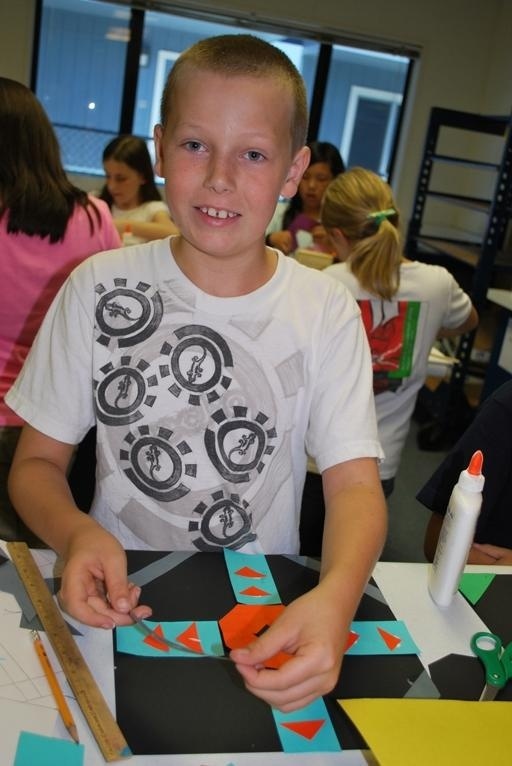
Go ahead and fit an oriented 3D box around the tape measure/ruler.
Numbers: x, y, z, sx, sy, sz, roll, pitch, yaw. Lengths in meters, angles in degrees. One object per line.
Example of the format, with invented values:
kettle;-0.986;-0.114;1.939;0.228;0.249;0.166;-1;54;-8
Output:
tape measure/ruler;-0.272;0.196;0.755;0.066;0.034;0.625;8;27;-34

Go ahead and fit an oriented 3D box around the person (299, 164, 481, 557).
person;0.397;0.123;1.972;0.575;1.363;0.398;9;-6;2

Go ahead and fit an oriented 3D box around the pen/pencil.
pen/pencil;-0.199;0.298;0.569;0.111;0.008;0.011;52;13;28

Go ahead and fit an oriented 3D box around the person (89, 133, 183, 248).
person;-0.741;-0.878;3.522;0.525;1.097;0.408;4;17;13

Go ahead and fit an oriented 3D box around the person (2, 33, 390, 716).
person;-0.005;0.029;0.884;0.553;0.837;0.472;39;25;25
